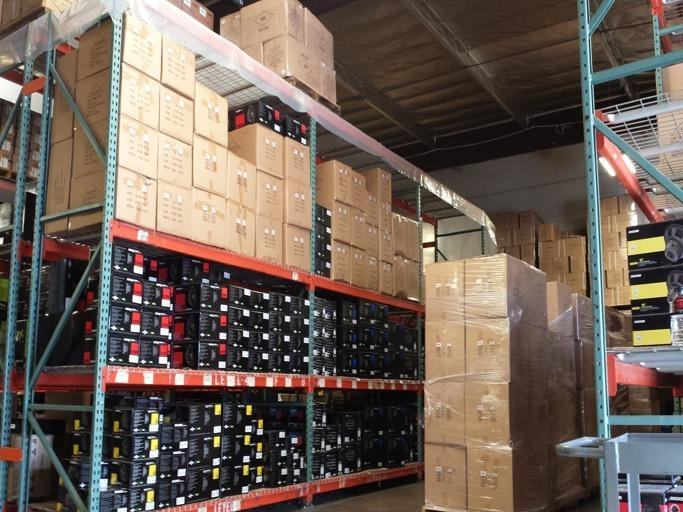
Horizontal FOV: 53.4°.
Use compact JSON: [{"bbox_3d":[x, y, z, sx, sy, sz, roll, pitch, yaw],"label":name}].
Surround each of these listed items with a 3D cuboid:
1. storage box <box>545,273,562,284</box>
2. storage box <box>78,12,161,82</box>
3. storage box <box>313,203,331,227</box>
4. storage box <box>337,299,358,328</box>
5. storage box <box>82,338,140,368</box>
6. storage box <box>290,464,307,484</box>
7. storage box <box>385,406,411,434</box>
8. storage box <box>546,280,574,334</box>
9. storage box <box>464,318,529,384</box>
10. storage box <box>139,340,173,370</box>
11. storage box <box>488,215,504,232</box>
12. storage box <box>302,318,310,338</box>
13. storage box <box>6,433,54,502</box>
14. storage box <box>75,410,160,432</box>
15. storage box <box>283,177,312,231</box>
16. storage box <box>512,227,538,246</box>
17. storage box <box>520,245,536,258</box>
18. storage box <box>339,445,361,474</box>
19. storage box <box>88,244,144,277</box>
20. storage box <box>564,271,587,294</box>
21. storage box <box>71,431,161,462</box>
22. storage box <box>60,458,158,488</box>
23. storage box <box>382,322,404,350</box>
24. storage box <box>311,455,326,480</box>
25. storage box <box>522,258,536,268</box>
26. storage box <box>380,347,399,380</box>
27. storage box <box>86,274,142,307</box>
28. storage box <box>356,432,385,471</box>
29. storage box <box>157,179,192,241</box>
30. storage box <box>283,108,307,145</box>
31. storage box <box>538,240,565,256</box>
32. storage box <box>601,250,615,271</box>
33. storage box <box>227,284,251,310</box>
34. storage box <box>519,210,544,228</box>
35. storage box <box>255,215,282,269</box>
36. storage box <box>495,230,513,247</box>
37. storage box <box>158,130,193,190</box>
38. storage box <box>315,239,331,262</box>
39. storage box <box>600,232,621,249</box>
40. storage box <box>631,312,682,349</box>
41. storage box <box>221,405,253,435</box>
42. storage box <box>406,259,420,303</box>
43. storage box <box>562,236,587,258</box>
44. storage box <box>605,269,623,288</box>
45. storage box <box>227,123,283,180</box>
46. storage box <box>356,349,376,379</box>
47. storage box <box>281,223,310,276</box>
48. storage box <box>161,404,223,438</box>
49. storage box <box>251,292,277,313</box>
[{"bbox_3d":[3.131,0.327,9.973,0.115,0.140,0.209,1,-5,-21],"label":"storage box"},{"bbox_3d":[-1.928,-1.728,5.892,0.562,0.342,0.551,-5,-7,30],"label":"storage box"},{"bbox_3d":[-0.200,-0.441,7.647,0.198,0.220,0.352,-6,-11,30],"label":"storage box"},{"bbox_3d":[0.066,0.677,7.879,0.087,0.266,0.234,-8,-25,34],"label":"storage box"},{"bbox_3d":[-1.885,0.770,5.537,0.463,0.256,0.315,-1,-17,-9],"label":"storage box"},{"bbox_3d":[-0.444,2.207,6.910,0.104,0.200,0.203,-8,-13,37],"label":"storage box"},{"bbox_3d":[0.695,2.058,8.554,0.181,0.316,0.364,-7,-13,36],"label":"storage box"},{"bbox_3d":[2.313,0.564,7.197,0.282,0.526,0.537,-5,-8,34],"label":"storage box"},{"bbox_3d":[1.332,0.833,5.991,0.519,0.733,0.508,5,-10,-16],"label":"storage box"},{"bbox_3d":[-1.583,0.826,5.752,0.087,0.210,0.372,2,-8,11],"label":"storage box"},{"bbox_3d":[2.789,-0.560,11.997,0.265,0.259,0.270,0,0,43],"label":"storage box"},{"bbox_3d":[-0.374,0.763,7.232,0.042,0.170,0.158,0,18,11],"label":"storage box"},{"bbox_3d":[-2.707,1.828,5.946,0.367,0.567,0.462,4,-18,-25],"label":"storage box"},{"bbox_3d":[-1.833,1.356,5.597,0.692,0.203,0.299,0,-17,-15],"label":"storage box"},{"bbox_3d":[-0.480,-0.533,7.212,0.165,0.472,0.525,-6,-9,27],"label":"storage box"},{"bbox_3d":[3.125,-0.314,11.540,0.316,0.315,0.328,-7,-10,42],"label":"storage box"},{"bbox_3d":[3.138,-0.070,11.408,0.194,0.266,0.272,-3,-6,29],"label":"storage box"},{"bbox_3d":[0.086,2.279,7.654,0.177,0.307,0.337,-6,-13,26],"label":"storage box"},{"bbox_3d":[-1.854,0.073,5.692,0.244,0.297,0.437,-6,-10,29],"label":"storage box"},{"bbox_3d":[3.545,0.406,10.234,0.324,0.315,0.318,2,-5,-10],"label":"storage box"},{"bbox_3d":[-1.872,1.555,5.593,0.699,0.256,0.257,-6,-17,7],"label":"storage box"},{"bbox_3d":[-1.845,1.729,5.493,0.699,0.261,0.279,1,-17,-18],"label":"storage box"},{"bbox_3d":[0.642,1.011,8.567,0.192,0.329,0.353,-4,-9,33],"label":"storage box"},{"bbox_3d":[-0.251,2.221,7.183,0.131,0.264,0.273,-7,-12,29],"label":"storage box"},{"bbox_3d":[2.628,0.094,9.469,0.079,0.138,0.141,0,-4,-20],"label":"storage box"},{"bbox_3d":[0.590,1.336,8.445,0.210,0.390,0.408,-2,-8,21],"label":"storage box"},{"bbox_3d":[-1.871,0.285,5.670,0.435,0.281,0.474,3,-18,-21],"label":"storage box"},{"bbox_3d":[0.359,2.277,8.166,0.379,0.518,0.542,-4,-12,20],"label":"storage box"},{"bbox_3d":[-1.461,-0.383,5.894,0.167,0.504,0.513,-1,-6,31],"label":"storage box"},{"bbox_3d":[-0.506,-1.398,7.454,0.150,0.250,0.501,-4,-8,23],"label":"storage box"},{"bbox_3d":[3.444,-0.093,11.139,0.277,0.173,0.268,7,-9,-42],"label":"storage box"},{"bbox_3d":[3.778,0.064,9.594,0.139,0.254,0.263,-3,-11,25],"label":"storage box"},{"bbox_3d":[-0.990,0.397,6.564,0.172,0.223,0.325,0,-5,29],"label":"storage box"},{"bbox_3d":[3.328,-0.587,11.709,0.475,0.333,0.283,6,-19,-31],"label":"storage box"},{"bbox_3d":[-0.747,-0.135,6.843,0.253,0.469,0.477,-6,-10,30],"label":"storage box"},{"bbox_3d":[2.813,-0.286,11.727,0.253,0.248,0.261,-4,-7,27],"label":"storage box"},{"bbox_3d":[-1.467,-0.827,5.950,0.157,0.453,0.495,-5,-10,27],"label":"storage box"},{"bbox_3d":[-0.212,-0.056,7.565,0.121,0.157,0.229,-5,-10,26],"label":"storage box"},{"bbox_3d":[4.111,-0.224,10.387,0.241,0.241,0.257,9,35,23],"label":"storage box"},{"bbox_3d":[2.002,0.479,4.309,0.344,0.240,0.191,-7,-14,40],"label":"storage box"},{"bbox_3d":[-0.989,1.522,6.351,0.141,0.238,0.283,-11,-17,33],"label":"storage box"},{"bbox_3d":[0.947,0.350,9.099,0.173,0.527,0.531,-3,-8,23],"label":"storage box"},{"bbox_3d":[3.750,-0.146,10.916,0.309,0.305,0.310,-3,-10,23],"label":"storage box"},{"bbox_3d":[4.087,0.340,10.152,0.235,0.237,0.250,-3,-9,34],"label":"storage box"},{"bbox_3d":[-0.796,-1.059,7.126,0.529,0.525,0.540,-1,-7,35],"label":"storage box"},{"bbox_3d":[0.275,1.272,8.019,0.156,0.309,0.344,-6,-12,32],"label":"storage box"},{"bbox_3d":[-0.496,-0.056,7.140,0.269,0.494,0.506,-4,-8,25],"label":"storage box"},{"bbox_3d":[-1.258,1.432,6.033,0.344,0.217,0.351,-1,-4,38],"label":"storage box"},{"bbox_3d":[-0.775,0.452,6.831,0.173,0.224,0.328,-5,-9,29],"label":"storage box"}]
